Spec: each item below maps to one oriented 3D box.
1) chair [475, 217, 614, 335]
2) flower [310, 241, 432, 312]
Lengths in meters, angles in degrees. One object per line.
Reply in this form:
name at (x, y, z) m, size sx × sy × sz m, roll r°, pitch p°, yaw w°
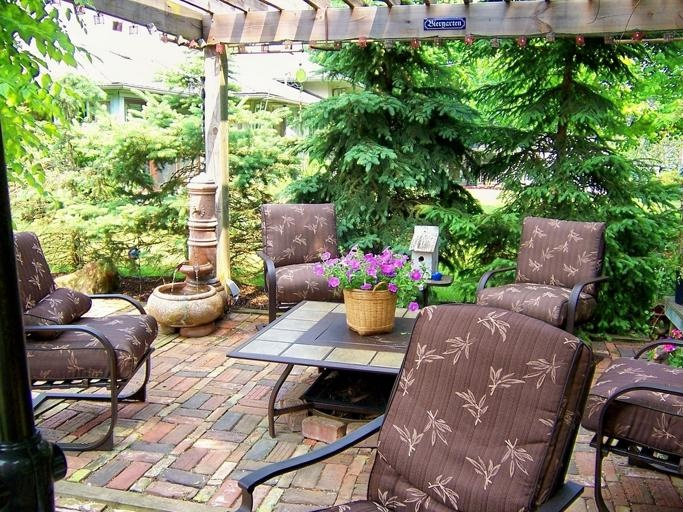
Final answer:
chair at (1.716, 0.336, 4.183) m, size 1.009 × 1.137 × 0.982 m, roll 2°, pitch 21°, yaw 34°
flower at (0.180, 0.117, 3.277) m, size 0.707 × 0.298 × 0.508 m, roll 2°, pitch 1°, yaw -10°
